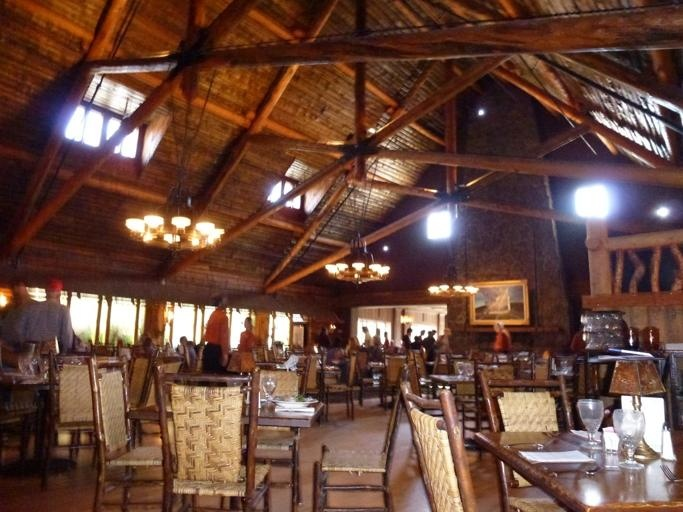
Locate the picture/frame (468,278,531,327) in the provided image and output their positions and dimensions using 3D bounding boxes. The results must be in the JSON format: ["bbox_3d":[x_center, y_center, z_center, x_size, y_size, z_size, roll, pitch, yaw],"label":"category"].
[{"bbox_3d":[4.180,1.243,14.271,1.343,0.990,0.101,-8,-21,35],"label":"picture/frame"}]

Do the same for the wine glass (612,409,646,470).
[{"bbox_3d":[1.630,1.043,3.110,0.165,0.314,0.157,8,-13,-38],"label":"wine glass"}]

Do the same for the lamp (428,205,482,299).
[{"bbox_3d":[3.059,-0.197,14.897,1.641,2.516,1.546,2,5,-27],"label":"lamp"}]

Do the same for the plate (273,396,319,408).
[{"bbox_3d":[-0.381,1.225,4.570,0.384,0.073,0.426,1,-11,-7],"label":"plate"}]
